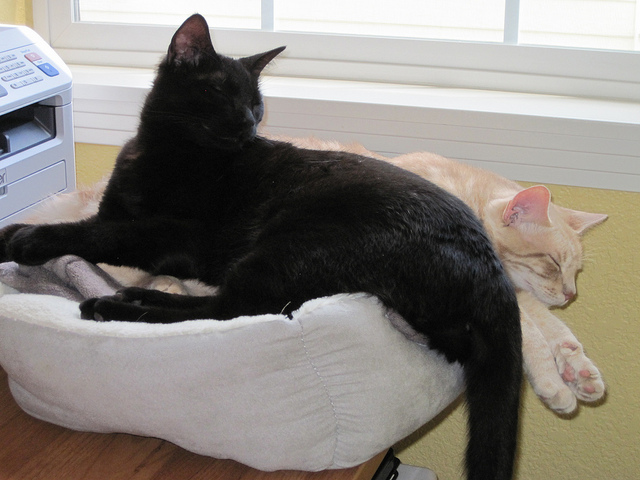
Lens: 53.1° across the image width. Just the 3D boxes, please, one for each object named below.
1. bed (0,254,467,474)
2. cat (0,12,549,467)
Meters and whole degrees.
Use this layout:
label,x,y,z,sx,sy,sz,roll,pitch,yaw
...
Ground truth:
label,x,y,z,sx,sy,sz,roll,pitch,yaw
bed,-0.170,0.190,0.975,0.494,0.154,0.372,13,-4,9
cat,-0.194,-0.140,1.437,1.491,0.698,0.481,25,6,29
